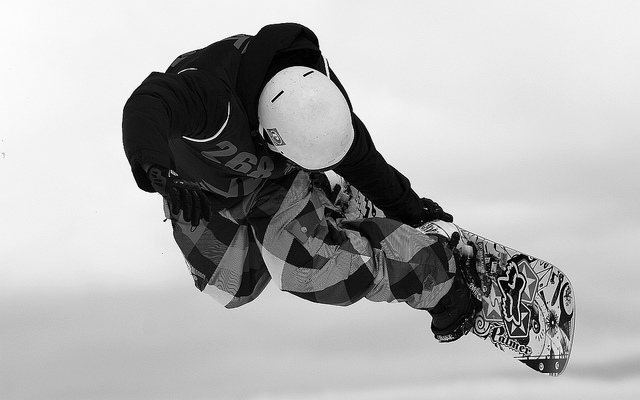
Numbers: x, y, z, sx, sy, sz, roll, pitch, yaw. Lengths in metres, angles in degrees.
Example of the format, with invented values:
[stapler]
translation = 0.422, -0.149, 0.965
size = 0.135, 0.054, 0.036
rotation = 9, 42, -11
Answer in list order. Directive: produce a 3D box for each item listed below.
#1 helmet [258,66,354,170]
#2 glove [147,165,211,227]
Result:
[helmet]
translation = -0.116, -0.481, 6.267
size = 0.642, 0.500, 0.529
rotation = 43, -10, 2
[glove]
translation = -0.791, -0.060, 5.674
size = 0.328, 0.502, 0.168
rotation = -4, -54, -38
